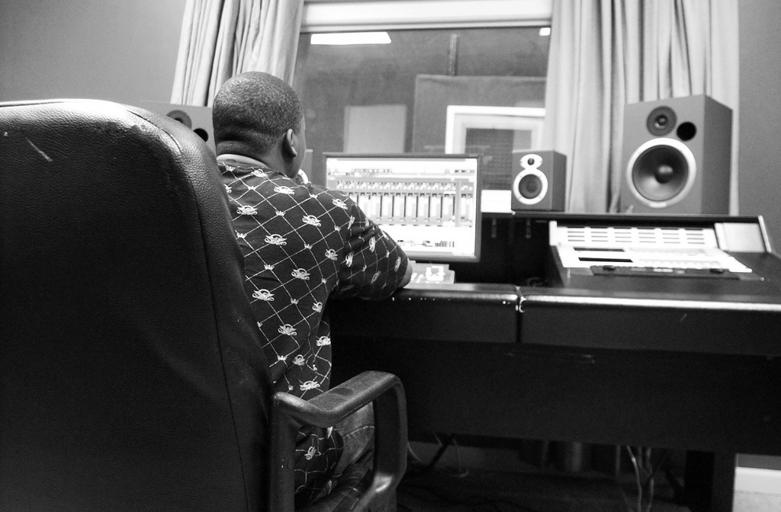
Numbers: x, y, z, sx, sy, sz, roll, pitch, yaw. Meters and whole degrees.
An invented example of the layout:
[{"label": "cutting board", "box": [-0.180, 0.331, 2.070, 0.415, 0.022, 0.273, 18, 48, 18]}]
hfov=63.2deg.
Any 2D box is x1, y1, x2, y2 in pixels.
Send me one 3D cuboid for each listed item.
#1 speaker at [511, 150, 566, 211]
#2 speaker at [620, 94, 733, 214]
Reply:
[{"label": "speaker", "box": [0.588, -0.295, 2.527, 0.190, 0.232, 0.272, 4, 5, 24]}, {"label": "speaker", "box": [1.196, -0.386, 2.466, 0.532, 0.453, 0.348, 1, 5, -17]}]
